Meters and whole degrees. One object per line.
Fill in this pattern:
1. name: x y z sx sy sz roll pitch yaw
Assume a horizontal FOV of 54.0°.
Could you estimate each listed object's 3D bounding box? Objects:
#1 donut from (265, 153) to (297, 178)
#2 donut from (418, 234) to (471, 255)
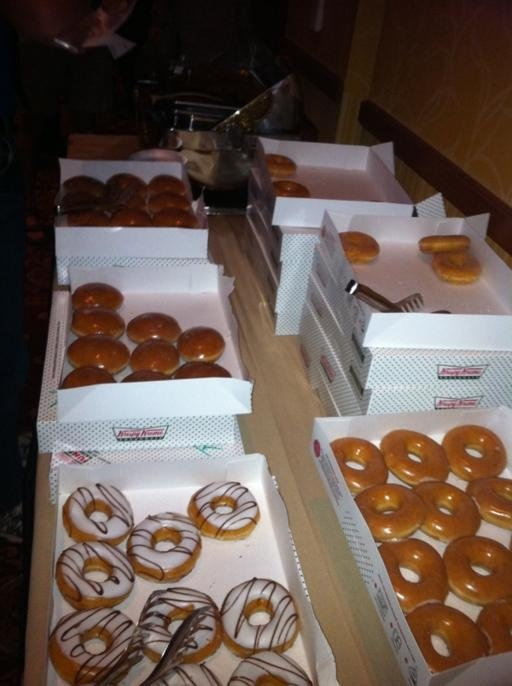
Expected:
1. donut: 0.068 -0.512 1.448 0.080 0.025 0.083 11 45 -7
2. donut: 0.418 -0.219 1.112 0.098 0.034 0.046 -4 16 7
